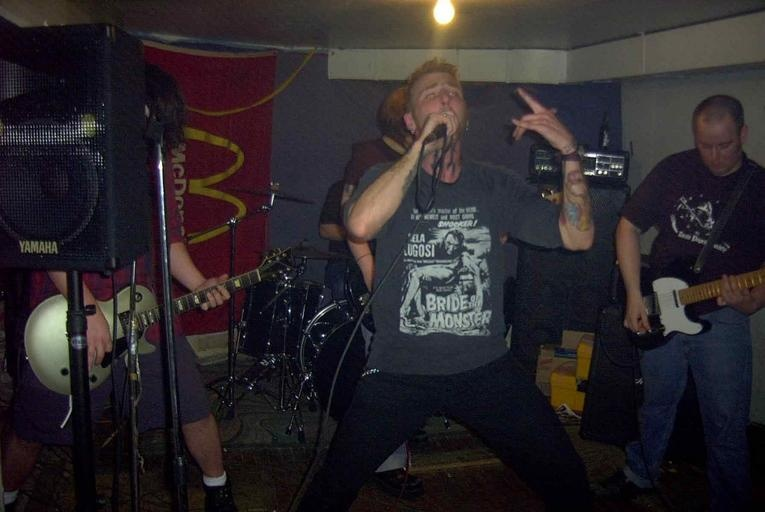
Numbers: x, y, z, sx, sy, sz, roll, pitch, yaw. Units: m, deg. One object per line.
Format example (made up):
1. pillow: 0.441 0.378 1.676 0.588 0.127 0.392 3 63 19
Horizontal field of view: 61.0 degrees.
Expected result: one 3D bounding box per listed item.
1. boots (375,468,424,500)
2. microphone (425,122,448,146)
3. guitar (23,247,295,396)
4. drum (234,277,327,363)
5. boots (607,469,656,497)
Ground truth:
1. boots: 0.107 1.429 4.121 0.295 0.090 0.167 8 14 34
2. microphone: 0.257 -0.590 3.125 0.107 0.097 0.041 1 8 2
3. guitar: -1.278 0.405 3.838 1.174 0.427 0.165 -20 10 -25
4. drum: -0.772 0.497 4.959 0.682 0.636 0.371 6 1 11
5. boots: 1.547 1.453 4.123 0.227 0.086 0.171 -3 2 -21
